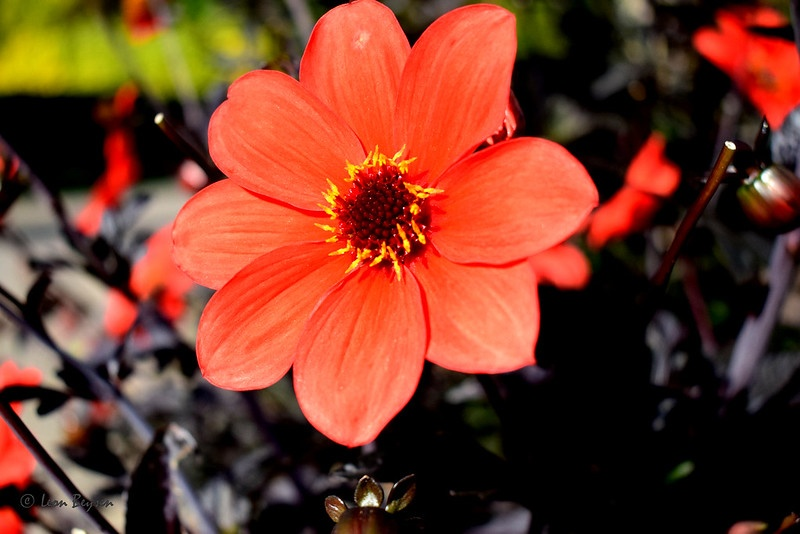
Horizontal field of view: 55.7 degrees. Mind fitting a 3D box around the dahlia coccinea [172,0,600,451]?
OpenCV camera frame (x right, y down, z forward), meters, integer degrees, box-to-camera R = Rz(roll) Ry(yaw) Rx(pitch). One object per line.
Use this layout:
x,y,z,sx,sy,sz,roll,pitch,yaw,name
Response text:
-0.055,-0.087,1.319,0.711,0.542,0.558,-20,38,-11,dahlia coccinea
